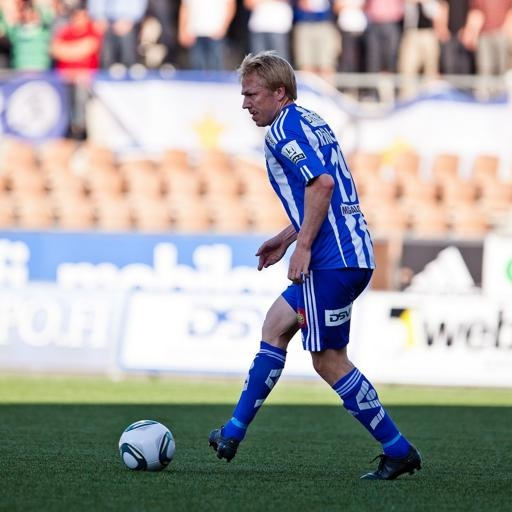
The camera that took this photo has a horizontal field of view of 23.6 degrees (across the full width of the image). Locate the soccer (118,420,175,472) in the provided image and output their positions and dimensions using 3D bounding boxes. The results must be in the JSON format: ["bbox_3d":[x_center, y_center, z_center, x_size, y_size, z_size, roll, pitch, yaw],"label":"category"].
[{"bbox_3d":[-0.747,1.310,8.300,0.363,0.309,0.288,-7,30,-9],"label":"soccer"}]

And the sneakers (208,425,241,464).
[{"bbox_3d":[-0.250,1.274,8.282,0.115,0.160,0.315,32,2,-22],"label":"sneakers"}]
